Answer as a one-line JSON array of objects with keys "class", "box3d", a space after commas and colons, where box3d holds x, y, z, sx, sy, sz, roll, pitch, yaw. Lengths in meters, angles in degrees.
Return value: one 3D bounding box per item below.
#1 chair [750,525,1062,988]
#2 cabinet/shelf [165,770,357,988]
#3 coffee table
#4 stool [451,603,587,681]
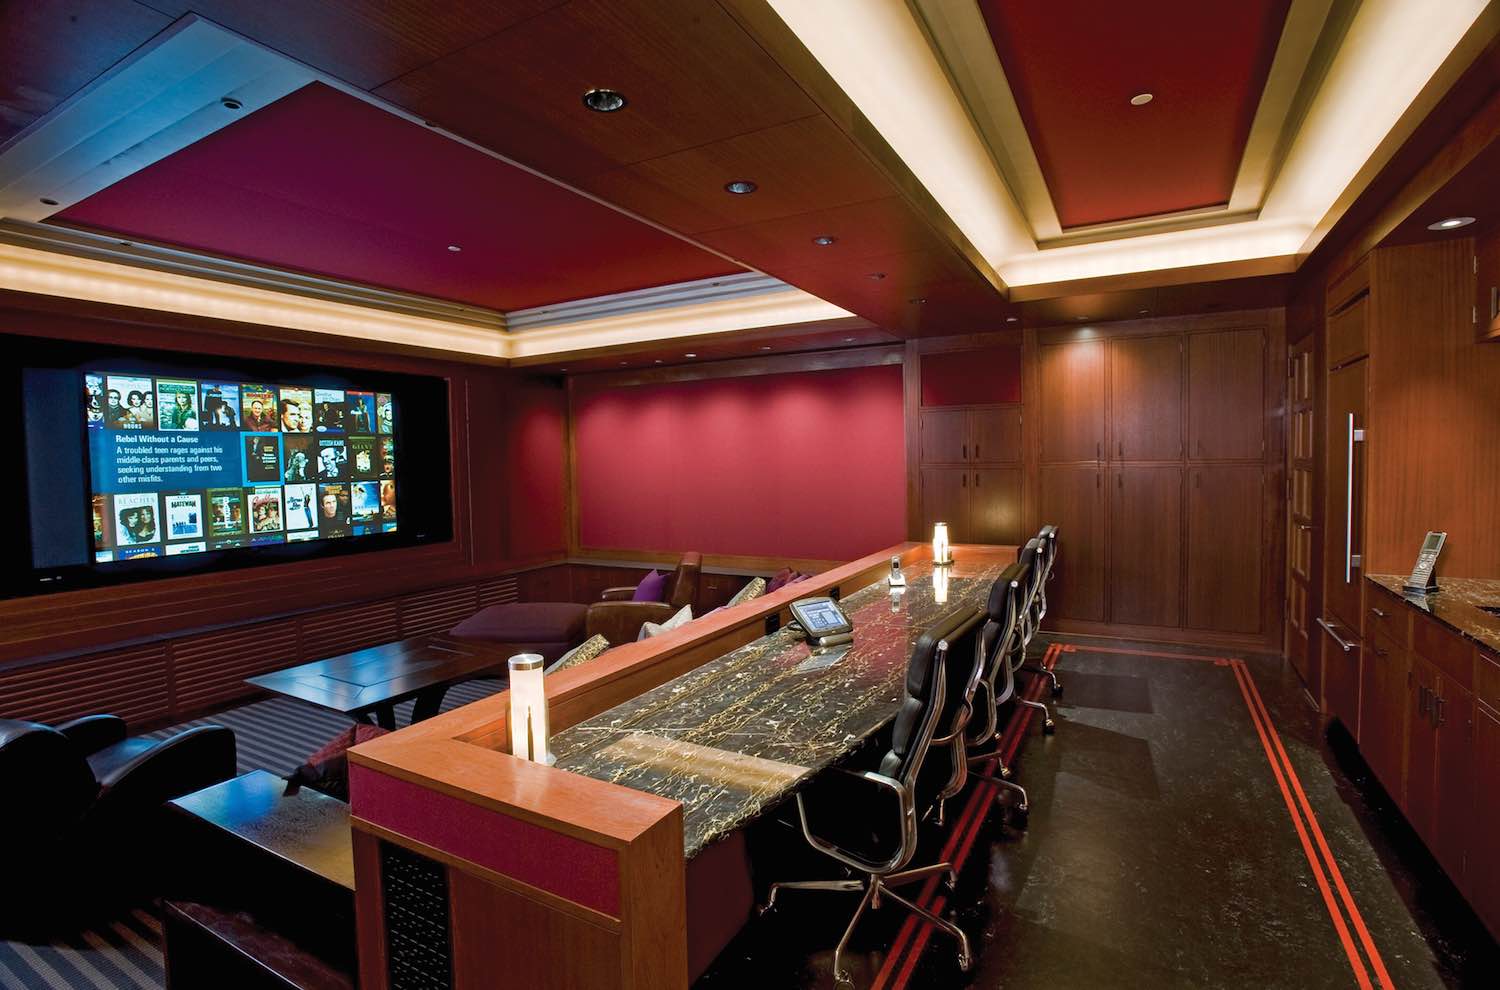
[{"class": "chair", "box3d": [0.828, 1.472, 6.108, 2.018, 2.883, 2.018, 1, 4, 33]}, {"class": "cabinet/shelf", "box3d": [-2.448, 2.017, 4.704, 1.308, 0.861, 0.557, 0, 3, 31]}, {"class": "coffee table", "box3d": [-2.808, 1.404, 7.080, 1.267, 0.267, 1.560, 0, 2, 33]}, {"class": "stool", "box3d": [-2.038, 1.245, 8.376, 1.046, 0.656, 0.728, -1, 1, -1]}]
